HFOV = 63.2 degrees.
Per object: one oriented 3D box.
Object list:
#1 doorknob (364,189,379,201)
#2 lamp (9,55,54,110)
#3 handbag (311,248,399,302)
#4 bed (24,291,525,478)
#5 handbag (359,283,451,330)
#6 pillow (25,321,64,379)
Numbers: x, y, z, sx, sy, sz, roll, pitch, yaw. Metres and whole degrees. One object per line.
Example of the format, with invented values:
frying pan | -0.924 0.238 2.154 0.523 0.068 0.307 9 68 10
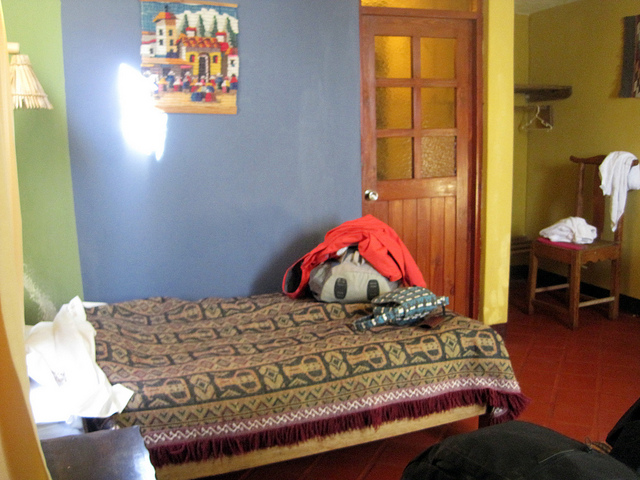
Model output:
doorknob | 0.380 -0.332 3.831 0.107 0.083 0.136 -3 15 5
lamp | -1.671 -0.881 2.894 0.231 0.294 0.180 0 15 15
handbag | 0.189 0.239 3.336 0.352 0.145 0.397 -1 14 1
bed | -0.228 0.620 2.619 1.729 0.538 1.220 -5 20 -17
handbag | 0.474 0.346 2.895 0.422 0.156 0.243 -15 7 -30
pillow | -1.163 0.467 2.191 0.115 0.159 0.297 -12 17 -28
